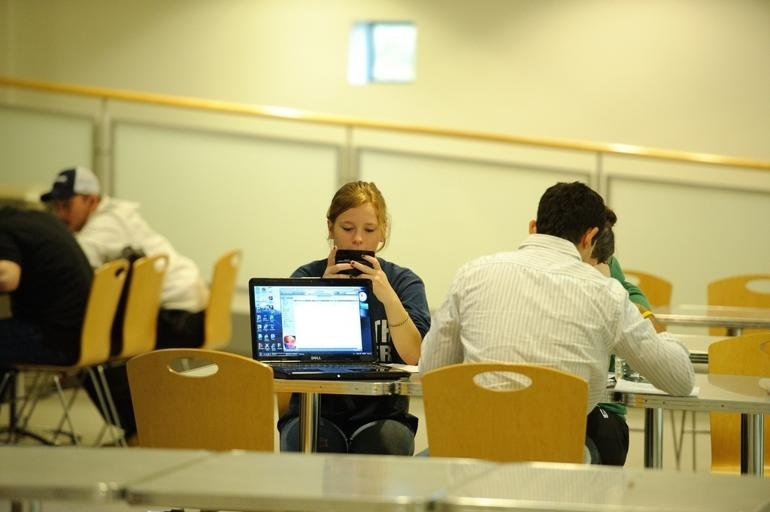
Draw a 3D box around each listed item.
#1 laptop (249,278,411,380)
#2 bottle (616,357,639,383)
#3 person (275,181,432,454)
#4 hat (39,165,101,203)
[{"bbox_3d":[-0.251,0.270,2.764,0.479,0.305,0.394,2,-5,-14],"label":"laptop"},{"bbox_3d":[0.870,0.420,2.677,0.072,0.061,0.068,-1,-2,-6],"label":"bottle"},{"bbox_3d":[-0.131,0.432,2.913,0.615,1.371,0.837,2,1,-2],"label":"person"},{"bbox_3d":[-1.976,-0.435,4.625,0.337,0.160,0.226,0,-3,-27],"label":"hat"}]
